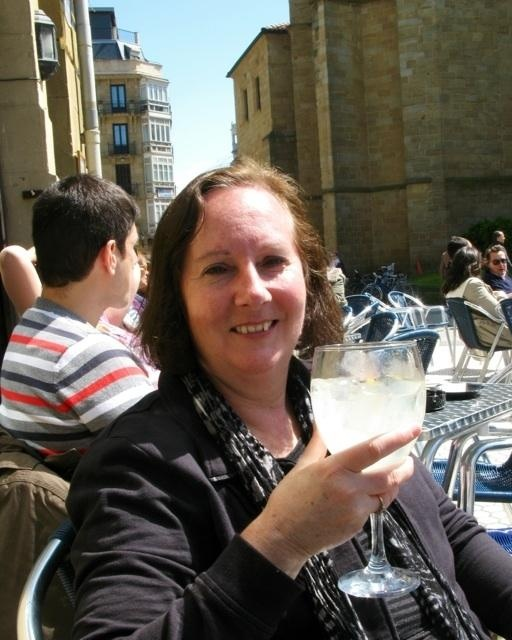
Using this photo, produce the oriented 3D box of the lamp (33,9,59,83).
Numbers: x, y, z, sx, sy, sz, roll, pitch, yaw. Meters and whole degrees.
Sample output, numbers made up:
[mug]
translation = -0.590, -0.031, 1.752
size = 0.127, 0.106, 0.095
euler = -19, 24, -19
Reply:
[lamp]
translation = -1.895, -2.531, 5.459
size = 0.181, 0.490, 0.472
euler = -8, 4, -15
